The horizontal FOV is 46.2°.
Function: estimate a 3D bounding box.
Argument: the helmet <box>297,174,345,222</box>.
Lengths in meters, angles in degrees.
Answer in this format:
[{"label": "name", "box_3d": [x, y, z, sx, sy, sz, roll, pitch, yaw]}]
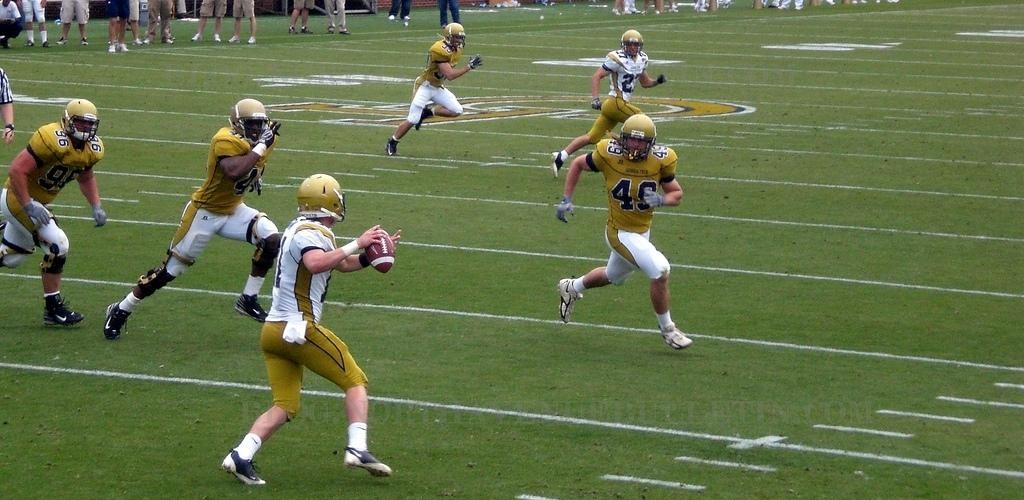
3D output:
[{"label": "helmet", "box_3d": [-2.280, -0.567, 13.887, 0.606, 0.433, 0.669, -2, -6, 22]}]

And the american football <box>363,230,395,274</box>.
[{"label": "american football", "box_3d": [-1.489, 0.015, 13.554, 0.439, 0.309, 0.483, -7, 53, -21]}]

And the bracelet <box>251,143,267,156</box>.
[{"label": "bracelet", "box_3d": [-3.252, -1.304, 15.603, 0.226, 0.122, 0.171, -14, 0, -25]}]

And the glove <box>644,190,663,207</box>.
[{"label": "glove", "box_3d": [1.849, -0.671, 15.715, 0.278, 0.233, 0.176, 2, 12, 5]}]

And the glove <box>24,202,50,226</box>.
[{"label": "glove", "box_3d": [-6.153, -0.479, 15.572, 0.289, 0.338, 0.107, 20, 73, 32]}]

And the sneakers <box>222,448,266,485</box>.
[{"label": "sneakers", "box_3d": [-3.044, 2.470, 13.448, 0.269, 0.592, 0.245, 1, 56, 33]}]

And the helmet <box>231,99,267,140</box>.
[{"label": "helmet", "box_3d": [-3.414, -1.718, 15.728, 0.505, 0.406, 0.574, -8, 19, -35]}]
